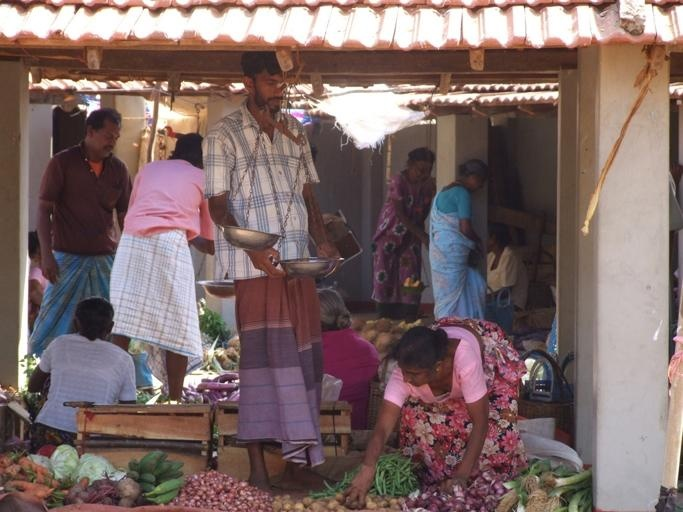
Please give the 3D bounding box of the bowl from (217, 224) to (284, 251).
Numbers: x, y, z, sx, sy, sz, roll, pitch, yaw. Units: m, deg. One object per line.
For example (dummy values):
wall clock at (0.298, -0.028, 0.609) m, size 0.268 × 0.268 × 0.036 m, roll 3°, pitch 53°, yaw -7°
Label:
bowl at (-0.537, -0.103, 5.263) m, size 0.338 × 0.139 × 0.145 m, roll 1°, pitch -1°, yaw -8°

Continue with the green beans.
green beans at (0.306, 1.334, 5.464) m, size 0.316 × 0.144 × 0.349 m, roll -6°, pitch 18°, yaw -10°

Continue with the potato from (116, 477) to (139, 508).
potato at (-1.209, 1.334, 5.057) m, size 0.094 × 0.150 × 0.076 m, roll -11°, pitch -16°, yaw -13°

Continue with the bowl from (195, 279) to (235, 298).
bowl at (-1.011, 0.257, 7.248) m, size 0.261 × 0.083 × 0.279 m, roll 4°, pitch -2°, yaw 0°

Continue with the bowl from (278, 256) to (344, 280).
bowl at (-0.189, 0.063, 5.468) m, size 0.336 × 0.132 × 0.408 m, roll 1°, pitch -1°, yaw 9°

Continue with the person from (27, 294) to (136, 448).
person at (-1.748, 0.793, 5.931) m, size 0.739 × 1.035 × 0.545 m, roll 1°, pitch -1°, yaw -4°

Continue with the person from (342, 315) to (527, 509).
person at (0.637, 0.907, 5.516) m, size 0.773 × 1.250 × 0.871 m, roll 4°, pitch 5°, yaw -2°

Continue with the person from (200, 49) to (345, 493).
person at (-0.441, 0.094, 5.574) m, size 0.843 × 2.675 × 0.585 m, roll 1°, pitch -1°, yaw -12°

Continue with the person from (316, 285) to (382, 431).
person at (0.038, 0.752, 6.789) m, size 0.361 × 1.055 × 0.483 m, roll 2°, pitch 8°, yaw -13°
